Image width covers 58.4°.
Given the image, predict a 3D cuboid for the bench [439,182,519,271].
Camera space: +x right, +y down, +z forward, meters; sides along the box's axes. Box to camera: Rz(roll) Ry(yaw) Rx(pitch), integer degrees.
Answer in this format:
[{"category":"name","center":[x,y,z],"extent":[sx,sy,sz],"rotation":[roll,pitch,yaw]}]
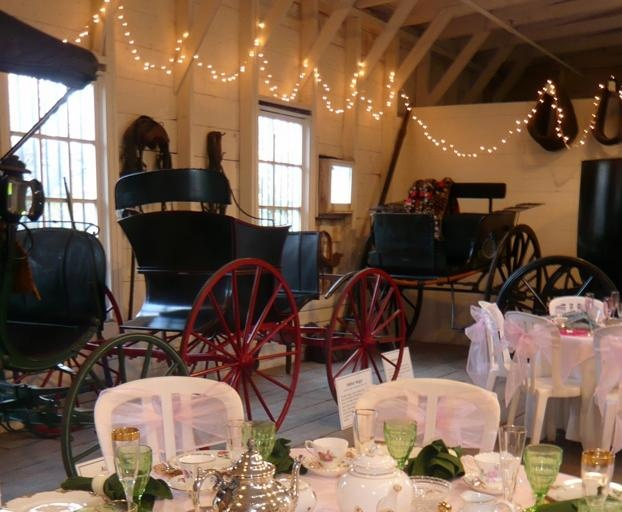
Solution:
[{"category":"bench","center":[1.770,-0.339,6.280],"extent":[0.930,0.912,1.019],"rotation":[2,6,38]}]

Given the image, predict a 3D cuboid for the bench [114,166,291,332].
[{"category":"bench","center":[-0.750,-0.025,3.965],"extent":[0.886,1.031,1.226],"rotation":[0,1,26]}]

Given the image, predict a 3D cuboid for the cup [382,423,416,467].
[{"category":"cup","center":[0.243,0.509,1.530],"extent":[0.091,0.160,0.103],"rotation":[2,8,7]}]

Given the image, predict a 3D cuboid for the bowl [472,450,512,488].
[{"category":"bowl","center":[0.522,0.594,1.599],"extent":[0.101,0.082,0.097],"rotation":[0,-1,0]}]

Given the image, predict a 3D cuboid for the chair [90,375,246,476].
[{"category":"chair","center":[-0.519,0.500,2.014],"extent":[0.388,0.526,0.362],"rotation":[0,-6,-20]}]

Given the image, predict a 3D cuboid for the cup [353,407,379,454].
[{"category":"cup","center":[0.142,0.477,1.505],"extent":[0.072,0.108,0.067],"rotation":[-1,-6,0]}]

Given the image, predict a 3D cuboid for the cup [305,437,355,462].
[{"category":"cup","center":[0.045,0.588,1.706],"extent":[0.088,0.044,0.074],"rotation":[-2,1,4]}]

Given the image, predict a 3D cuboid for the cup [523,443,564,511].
[{"category":"cup","center":[0.570,0.552,1.381],"extent":[0.082,0.158,0.099],"rotation":[4,5,39]}]

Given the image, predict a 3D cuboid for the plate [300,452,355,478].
[{"category":"plate","center":[0.042,0.628,1.643],"extent":[0.137,0.038,0.141],"rotation":[0,-1,40]}]
